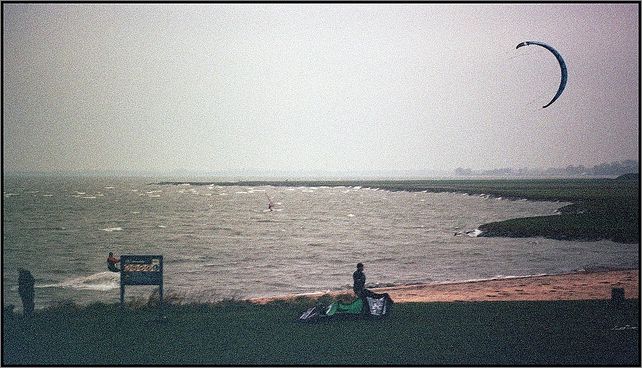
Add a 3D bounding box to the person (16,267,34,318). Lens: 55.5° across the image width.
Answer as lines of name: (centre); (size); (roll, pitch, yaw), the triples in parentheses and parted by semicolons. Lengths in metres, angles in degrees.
person: (-25.312, 9.157, 52.330); (1.093, 3.772, 1.575); (-6, 6, -28)
